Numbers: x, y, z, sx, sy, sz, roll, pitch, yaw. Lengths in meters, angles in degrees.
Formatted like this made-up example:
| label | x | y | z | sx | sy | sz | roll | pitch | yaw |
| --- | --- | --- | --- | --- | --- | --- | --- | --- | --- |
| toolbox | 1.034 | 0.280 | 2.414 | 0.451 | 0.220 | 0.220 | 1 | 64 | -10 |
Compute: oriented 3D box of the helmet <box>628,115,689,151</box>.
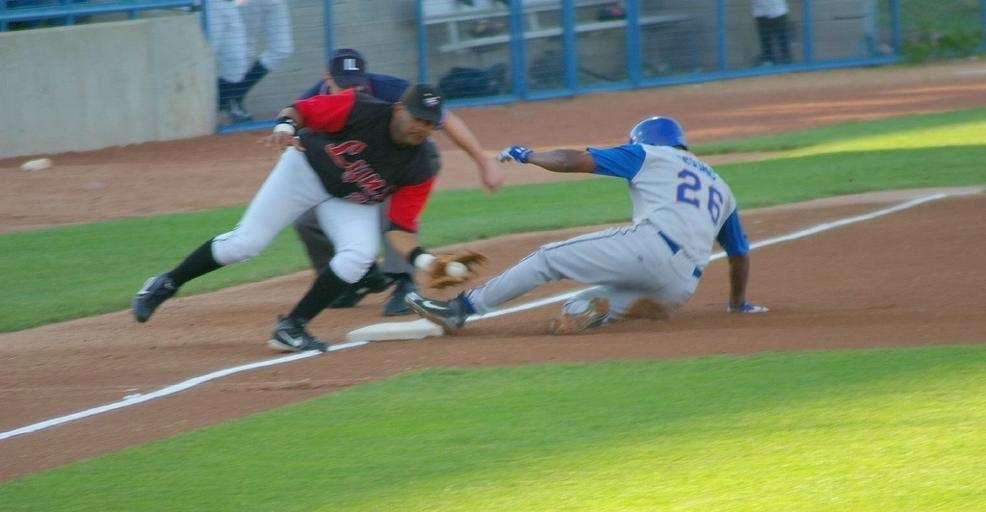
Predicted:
| label | x | y | z | sx | sy | sz | roll | pitch | yaw |
| --- | --- | --- | --- | --- | --- | --- | --- | --- | --- |
| helmet | 1.790 | -1.299 | 13.504 | 0.512 | 0.284 | 0.586 | -16 | 14 | -35 |

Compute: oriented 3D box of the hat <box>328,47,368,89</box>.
| label | x | y | z | sx | sy | sz | roll | pitch | yaw |
| --- | --- | --- | --- | --- | --- | --- | --- | --- | --- |
| hat | -1.549 | -2.010 | 14.005 | 0.399 | 0.423 | 0.338 | -7 | 7 | -5 |

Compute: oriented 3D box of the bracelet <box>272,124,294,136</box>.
| label | x | y | z | sx | sy | sz | roll | pitch | yaw |
| --- | --- | --- | --- | --- | --- | --- | --- | --- | --- |
| bracelet | -2.075 | -1.268 | 13.007 | 0.206 | 0.076 | 0.137 | 3 | 6 | -1 |

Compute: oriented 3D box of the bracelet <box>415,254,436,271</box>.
| label | x | y | z | sx | sy | sz | roll | pitch | yaw |
| --- | --- | --- | --- | --- | --- | --- | --- | --- | --- |
| bracelet | -0.664 | 0.060 | 13.177 | 0.212 | 0.134 | 0.182 | -7 | 29 | -40 |

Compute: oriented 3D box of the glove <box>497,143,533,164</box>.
| label | x | y | z | sx | sy | sz | roll | pitch | yaw |
| --- | --- | --- | --- | --- | --- | --- | --- | --- | --- |
| glove | 0.264 | -1.040 | 13.150 | 0.372 | 0.082 | 0.225 | 2 | -5 | 10 |
